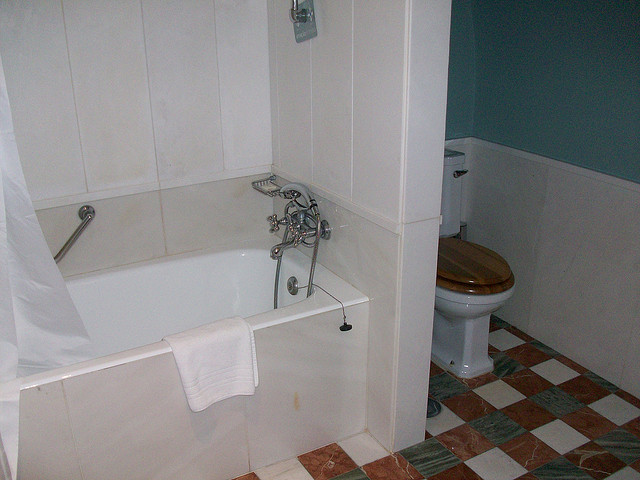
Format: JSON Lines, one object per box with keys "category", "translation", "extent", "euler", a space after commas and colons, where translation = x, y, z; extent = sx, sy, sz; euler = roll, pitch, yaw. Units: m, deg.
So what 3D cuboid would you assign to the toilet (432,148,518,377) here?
{"category": "toilet", "translation": [0.925, 0.127, 2.836], "extent": [0.433, 1.069, 0.850], "euler": [5, 26, 13]}
